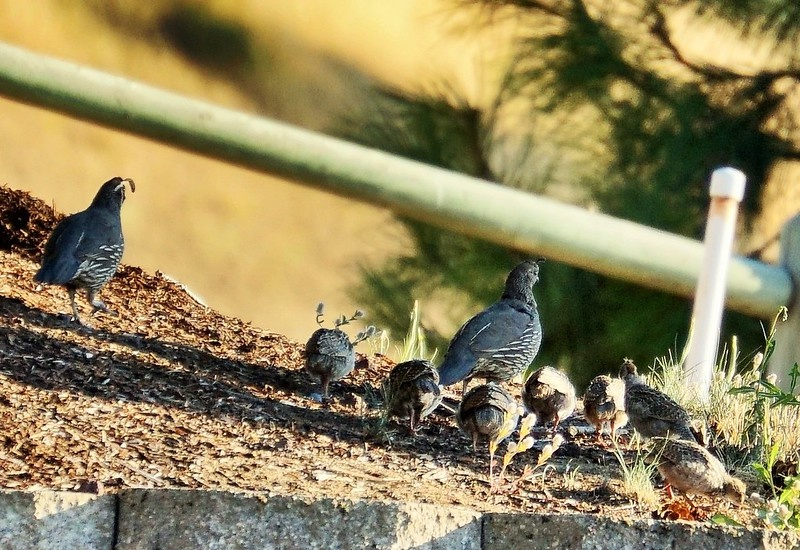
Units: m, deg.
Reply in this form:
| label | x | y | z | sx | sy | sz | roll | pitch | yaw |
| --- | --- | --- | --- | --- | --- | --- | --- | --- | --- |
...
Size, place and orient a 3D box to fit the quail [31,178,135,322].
| label | x | y | z | sx | sy | sz | roll | pitch | yaw |
| --- | --- | --- | --- | --- | --- | --- | --- | --- | --- |
| quail | -2.686 | -0.317 | 16.054 | 0.673 | 1.458 | 0.423 | 30 | -32 | -30 |

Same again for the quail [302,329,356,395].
| label | x | y | z | sx | sy | sz | roll | pitch | yaw |
| --- | --- | --- | --- | --- | --- | --- | --- | --- | --- |
| quail | -0.547 | 0.749 | 15.900 | 0.337 | 0.495 | 0.622 | 3 | -33 | 7 |
